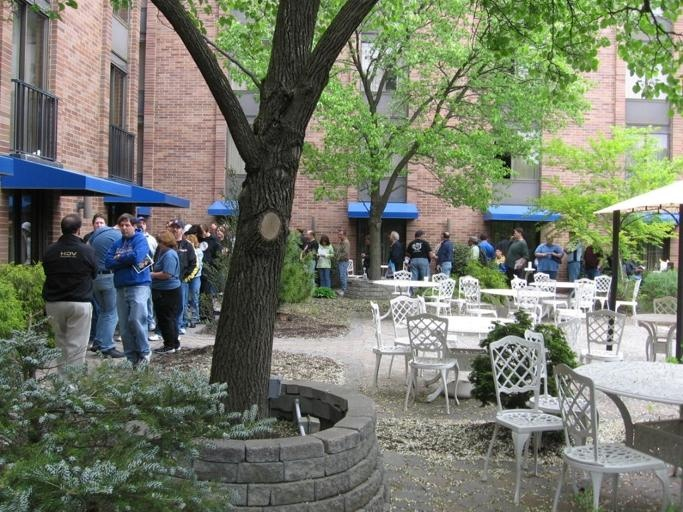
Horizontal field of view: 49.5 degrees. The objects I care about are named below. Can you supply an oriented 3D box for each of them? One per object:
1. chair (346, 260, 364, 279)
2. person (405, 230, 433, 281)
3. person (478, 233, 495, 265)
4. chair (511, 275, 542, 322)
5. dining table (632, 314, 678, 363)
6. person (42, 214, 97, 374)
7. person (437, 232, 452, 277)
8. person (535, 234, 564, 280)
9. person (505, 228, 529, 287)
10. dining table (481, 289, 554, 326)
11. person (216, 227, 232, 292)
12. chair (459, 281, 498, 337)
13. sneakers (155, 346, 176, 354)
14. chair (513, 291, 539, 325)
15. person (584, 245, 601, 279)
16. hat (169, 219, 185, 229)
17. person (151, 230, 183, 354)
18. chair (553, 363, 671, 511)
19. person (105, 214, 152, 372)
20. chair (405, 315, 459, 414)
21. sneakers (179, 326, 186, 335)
[{"bbox_3d":[0.429,0.446,25.971,0.558,0.919,0.598,1,-2,-32],"label":"chair"},{"bbox_3d":[2.189,-0.025,20.729,0.681,1.451,2.712,2,-2,6],"label":"person"},{"bbox_3d":[4.095,-0.192,20.825,0.476,0.890,1.852,2,-2,12],"label":"person"},{"bbox_3d":[3.907,1.013,15.583,0.592,0.926,0.673,13,27,26],"label":"chair"},{"bbox_3d":[5.211,1.287,11.876,0.849,0.845,0.856,0,0,1],"label":"dining table"},{"bbox_3d":[-3.421,0.364,9.305,0.631,1.514,0.375,3,-2,-20],"label":"person"},{"bbox_3d":[2.887,-0.058,20.771,0.437,1.247,1.658,2,-2,7],"label":"person"},{"bbox_3d":[5.721,0.057,20.462,0.674,1.190,0.975,2,-2,14],"label":"person"},{"bbox_3d":[5.038,0.226,20.852,0.476,2.029,0.889,-7,15,8],"label":"person"},{"bbox_3d":[3.714,0.890,15.295,1.176,0.591,1.169,-2,4,-18],"label":"dining table"},{"bbox_3d":[-2.431,0.053,15.518,0.255,0.962,0.869,3,-2,-18],"label":"person"},{"bbox_3d":[2.944,1.087,15.477,0.804,1.225,0.699,2,2,37],"label":"chair"},{"bbox_3d":[-2.728,1.468,11.454,0.328,0.132,0.119,6,-6,-28],"label":"sneakers"},{"bbox_3d":[3.850,1.047,15.332,0.425,0.688,0.501,3,16,20],"label":"chair"},{"bbox_3d":[6.976,0.179,20.571,0.391,0.894,0.725,2,-2,18],"label":"person"},{"bbox_3d":[-2.842,-0.551,12.849,0.242,0.121,0.295,3,-2,-24],"label":"hat"},{"bbox_3d":[-2.694,0.564,11.347,0.436,1.347,0.478,3,-2,-14],"label":"person"},{"bbox_3d":[2.403,1.686,6.724,0.926,1.353,0.659,2,-2,13],"label":"chair"},{"bbox_3d":[-2.952,0.439,10.415,0.622,1.580,0.503,1,-2,31],"label":"person"},{"bbox_3d":[1.290,1.407,10.278,0.716,1.243,1.892,2,-2,8],"label":"chair"},{"bbox_3d":[-2.911,1.354,13.508,0.149,0.080,0.247,0,0,-12],"label":"sneakers"}]
